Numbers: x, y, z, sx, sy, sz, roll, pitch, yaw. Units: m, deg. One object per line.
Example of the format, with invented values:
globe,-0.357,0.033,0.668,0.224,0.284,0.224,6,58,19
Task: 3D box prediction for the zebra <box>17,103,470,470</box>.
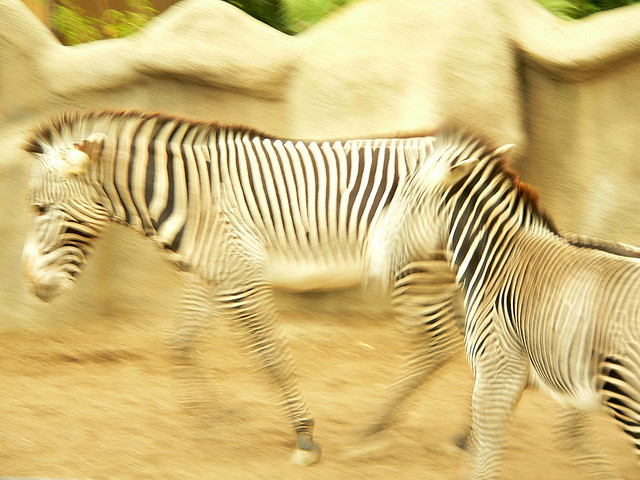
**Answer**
zebra,-0.006,0.198,5.273,3.875,1.000,1.905,0,89,20
